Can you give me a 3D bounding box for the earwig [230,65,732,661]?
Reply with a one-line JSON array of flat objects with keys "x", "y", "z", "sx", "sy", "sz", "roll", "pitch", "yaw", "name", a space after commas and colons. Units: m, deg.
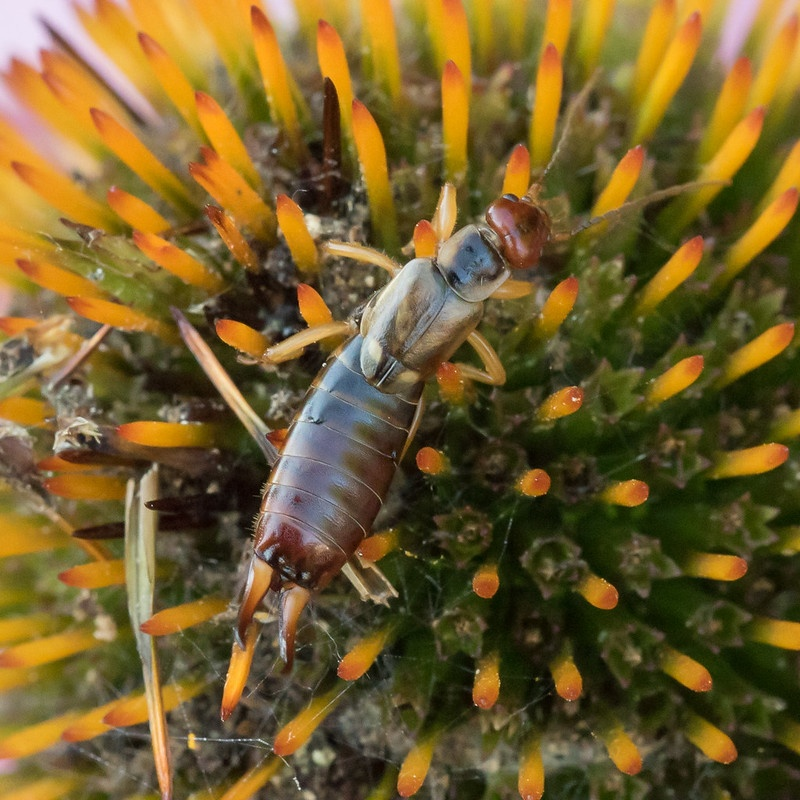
[{"x": -0.039, "y": -0.023, "z": 1.318, "sx": 0.386, "sy": 0.215, "sz": 0.838, "roll": 32, "pitch": 81, "yaw": 12, "name": "earwig"}]
